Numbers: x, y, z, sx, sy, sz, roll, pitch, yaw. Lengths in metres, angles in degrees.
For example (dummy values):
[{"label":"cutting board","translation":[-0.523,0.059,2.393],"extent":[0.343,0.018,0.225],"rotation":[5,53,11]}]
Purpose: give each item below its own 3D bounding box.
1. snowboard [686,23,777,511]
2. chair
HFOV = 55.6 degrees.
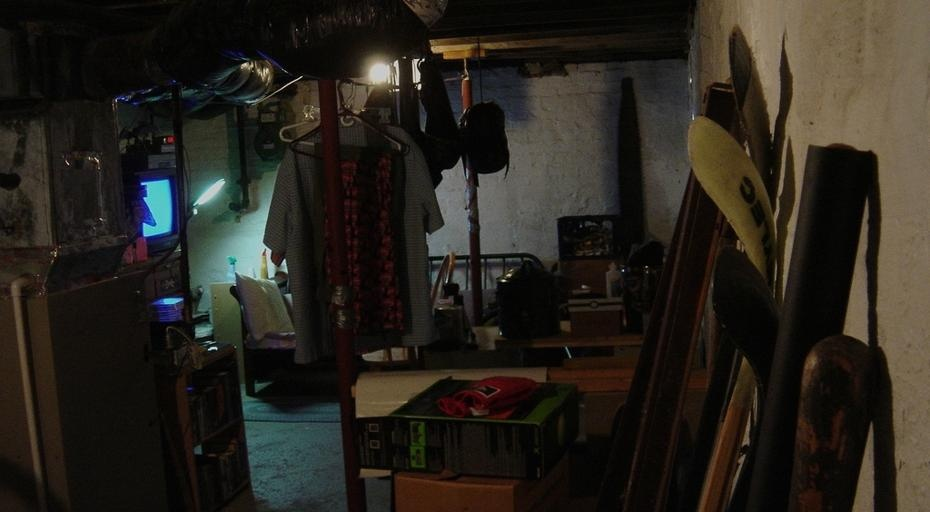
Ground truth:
[{"label":"snowboard","translation":[0.831,-0.038,2.768],"extent":[0.346,1.867,0.222],"rotation":[-4,-32,17]},{"label":"chair","translation":[-0.319,0.330,5.779],"extent":[0.842,1.015,0.662],"rotation":[0,0,-3]}]
